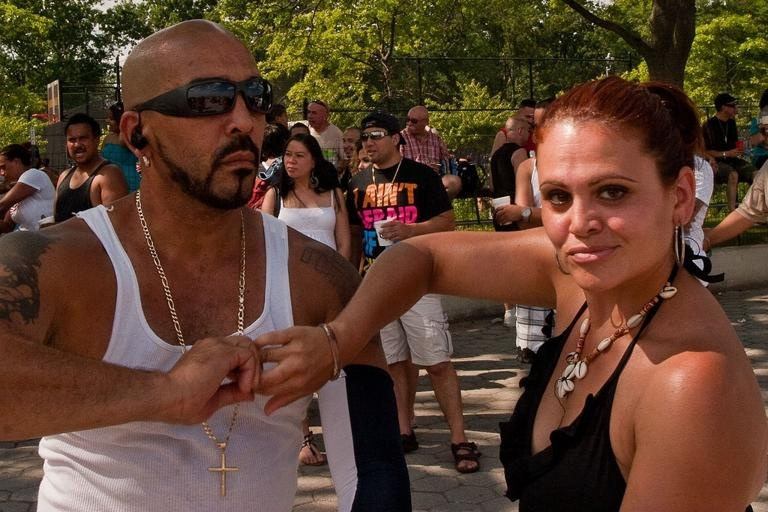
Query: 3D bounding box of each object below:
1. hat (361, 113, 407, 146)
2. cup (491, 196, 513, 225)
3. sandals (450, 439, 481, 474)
[{"bbox_3d":[0.002,-1.079,5.979,0.334,0.169,0.236,18,3,-21],"label":"hat"},{"bbox_3d":[0.957,-0.377,5.598,0.155,0.128,0.153,-6,11,1],"label":"cup"},{"bbox_3d":[0.587,1.447,5.082,0.173,0.131,0.479,-2,2,1],"label":"sandals"}]
